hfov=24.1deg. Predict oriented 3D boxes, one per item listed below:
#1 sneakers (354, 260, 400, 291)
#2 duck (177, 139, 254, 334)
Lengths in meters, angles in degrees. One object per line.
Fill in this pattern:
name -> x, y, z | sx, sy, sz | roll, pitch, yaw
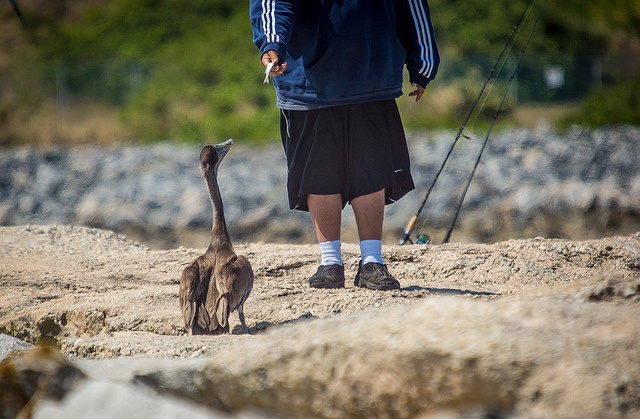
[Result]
sneakers -> 0.620, 0.767, 16.734 | 0.483, 0.239, 0.232 | 2, 0, 40
duck -> -1.061, 0.360, 16.661 | 0.716, 1.937, 0.954 | 0, 1, 4
